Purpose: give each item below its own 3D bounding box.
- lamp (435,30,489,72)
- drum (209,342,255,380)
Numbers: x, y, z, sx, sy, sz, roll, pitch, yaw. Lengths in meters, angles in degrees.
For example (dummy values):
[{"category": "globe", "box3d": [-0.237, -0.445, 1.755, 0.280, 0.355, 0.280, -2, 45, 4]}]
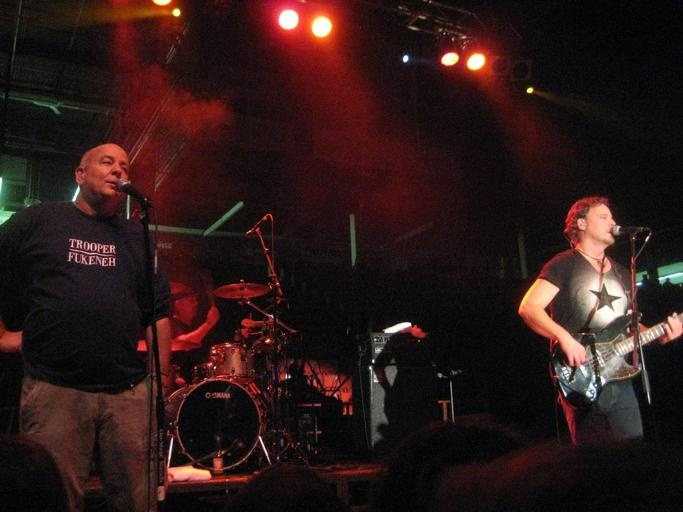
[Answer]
[{"category": "lamp", "box3d": [1.291, -2.168, 6.671, 0.680, 0.185, 0.385, 20, -28, -40]}, {"category": "drum", "box3d": [-1.079, 1.078, 6.300, 0.368, 0.262, 0.365, -3, -17, -1]}]
